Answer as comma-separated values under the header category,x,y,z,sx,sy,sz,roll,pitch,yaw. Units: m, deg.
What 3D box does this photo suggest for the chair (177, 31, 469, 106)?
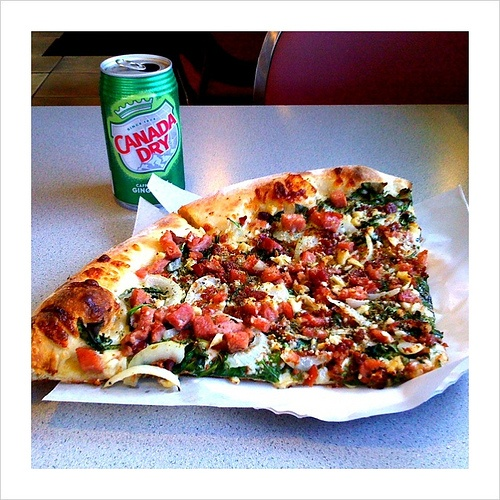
category,x,y,z,sx,sy,sz,roll,pitch,yaw
chair,0.435,-1.450,3.803,1.023,0.605,2.107,-17,25,-40

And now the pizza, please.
category,x,y,z,sx,sy,sz,roll,pitch,yaw
pizza,0.015,0.008,1.817,1.279,0.489,1.194,2,19,6
